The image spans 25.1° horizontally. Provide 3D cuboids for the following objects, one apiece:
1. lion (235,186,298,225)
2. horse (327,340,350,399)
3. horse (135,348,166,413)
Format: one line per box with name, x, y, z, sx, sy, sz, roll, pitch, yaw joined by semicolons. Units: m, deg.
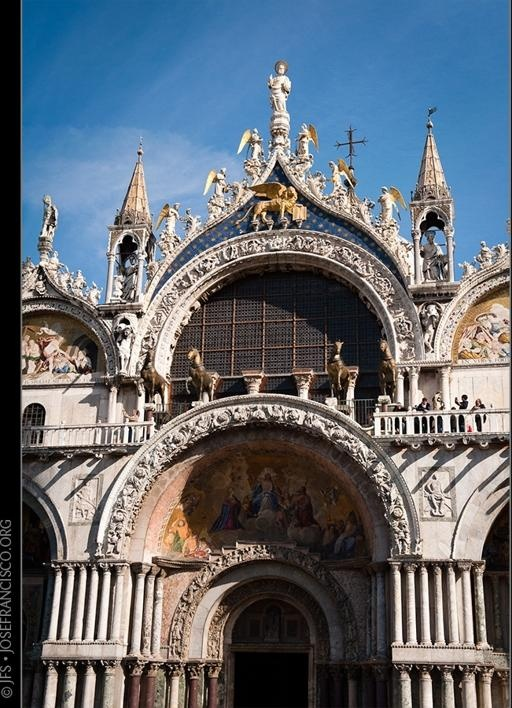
lion;0.338;-4.045;30.829;1.479;0.828;0.986;-4;-21;7
horse;1.966;0.529;27.841;0.476;1.220;1.774;0;-21;10
horse;-2.575;0.593;29.049;0.671;1.570;1.687;2;-17;-3
